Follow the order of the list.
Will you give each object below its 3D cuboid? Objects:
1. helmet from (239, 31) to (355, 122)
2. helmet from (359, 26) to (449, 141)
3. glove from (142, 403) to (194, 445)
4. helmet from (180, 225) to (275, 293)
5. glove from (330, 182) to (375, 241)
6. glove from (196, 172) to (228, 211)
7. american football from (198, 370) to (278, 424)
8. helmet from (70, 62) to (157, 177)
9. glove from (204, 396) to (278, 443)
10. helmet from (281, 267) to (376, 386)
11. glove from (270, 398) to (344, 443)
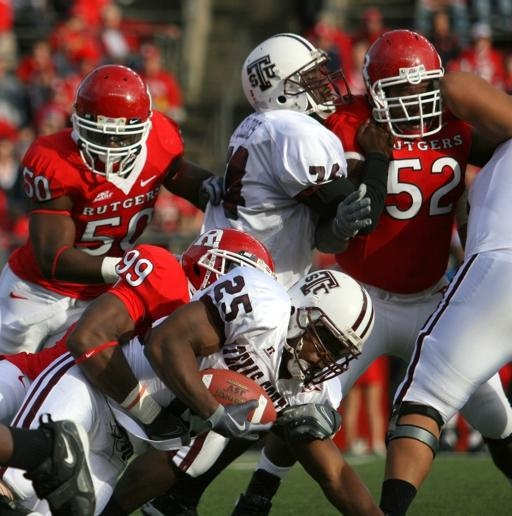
[{"bbox_3d":[0.108,-0.791,3.122,0.545,0.330,0.336,-3,26,-7],"label":"helmet"},{"bbox_3d":[0.588,-0.674,2.853,0.304,0.415,0.324,-7,26,9],"label":"helmet"},{"bbox_3d":[-0.270,0.550,2.314,0.132,0.050,0.112,-22,57,-1],"label":"glove"},{"bbox_3d":[-0.108,0.013,2.588,0.350,0.226,0.250,14,3,30],"label":"helmet"},{"bbox_3d":[0.339,-0.136,2.573,0.142,0.231,0.143,-9,26,5],"label":"glove"},{"bbox_3d":[-0.188,-0.270,3.158,0.129,0.135,0.241,-13,23,-5],"label":"glove"},{"bbox_3d":[-0.037,0.415,2.289,0.235,0.143,0.066,33,55,-1],"label":"american football"},{"bbox_3d":[-0.583,-0.574,2.968,0.356,0.363,0.376,-2,41,-17],"label":"helmet"},{"bbox_3d":[-0.044,0.478,2.223,0.130,0.086,0.232,21,15,34],"label":"glove"},{"bbox_3d":[0.240,0.253,2.422,0.313,0.363,0.290,-6,26,10],"label":"helmet"},{"bbox_3d":[0.175,0.547,2.388,0.191,0.070,0.129,-3,-4,4],"label":"glove"}]
